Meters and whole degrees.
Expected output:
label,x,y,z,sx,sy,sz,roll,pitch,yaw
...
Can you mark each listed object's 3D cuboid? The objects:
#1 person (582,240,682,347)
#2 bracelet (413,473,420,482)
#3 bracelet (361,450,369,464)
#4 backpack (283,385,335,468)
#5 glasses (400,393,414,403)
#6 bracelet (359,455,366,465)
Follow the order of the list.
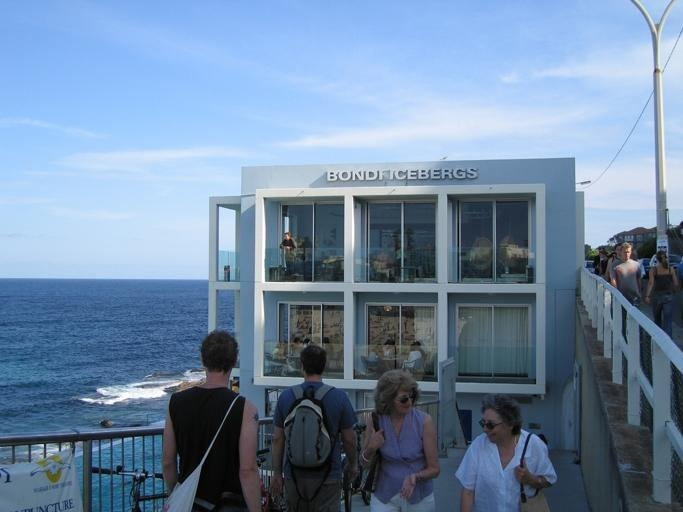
label,x,y,z,sx,sy,sz,roll,pitch,yaw
person,5.345,0.586,11.983,0.992,1.651,1.764,1,0,32
bracelet,0.691,2.020,6.295,0.067,0.075,0.026,-1,-4,2
bracelet,0.229,1.865,6.401,0.038,0.106,0.075,10,-3,-7
backpack,-0.312,1.660,6.709,0.490,0.839,0.456,-4,-14,16
glasses,0.620,1.304,6.296,0.166,0.058,0.070,1,0,-38
bracelet,0.216,1.907,6.428,0.078,0.076,0.018,-43,-35,21
